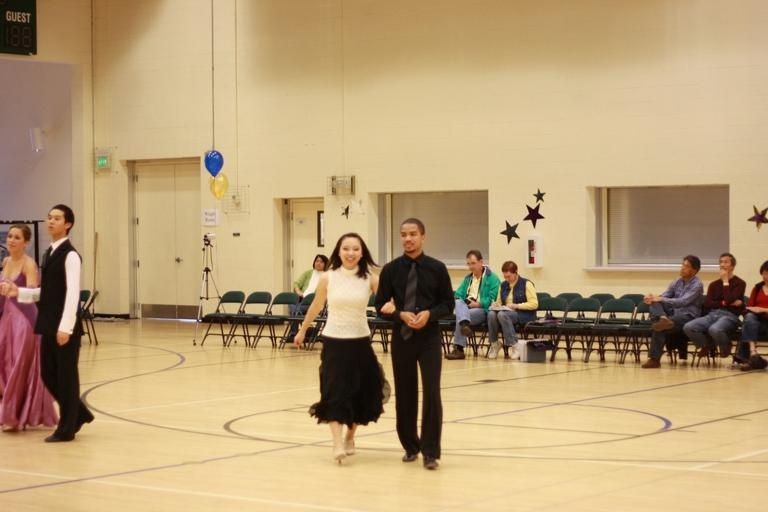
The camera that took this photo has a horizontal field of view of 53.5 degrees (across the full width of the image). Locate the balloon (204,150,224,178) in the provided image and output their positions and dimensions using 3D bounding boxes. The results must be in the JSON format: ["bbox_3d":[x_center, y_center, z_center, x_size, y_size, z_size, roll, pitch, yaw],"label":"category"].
[{"bbox_3d":[-3.837,-2.118,17.291,0.330,0.617,0.432,2,-2,-44],"label":"balloon"}]

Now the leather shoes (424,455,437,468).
[{"bbox_3d":[0.429,1.890,7.005,0.057,0.080,0.178,0,3,-4],"label":"leather shoes"}]

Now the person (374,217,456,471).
[{"bbox_3d":[0.287,0.804,7.148,0.706,2.287,0.332,1,-1,5],"label":"person"}]

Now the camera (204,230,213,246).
[{"bbox_3d":[-4.201,-0.412,18.264,0.321,0.370,0.277,3,-6,-24],"label":"camera"}]

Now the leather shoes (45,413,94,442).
[{"bbox_3d":[-3.285,1.810,8.150,0.181,0.253,0.555,-10,0,34],"label":"leather shoes"}]

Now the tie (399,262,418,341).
[{"bbox_3d":[0.254,0.415,7.182,0.122,0.728,0.156,0,-2,38],"label":"tie"}]

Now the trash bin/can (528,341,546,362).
[{"bbox_3d":[2.588,1.591,13.120,0.307,0.435,0.433,-1,-5,-4],"label":"trash bin/can"}]

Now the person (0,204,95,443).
[{"bbox_3d":[-3.549,0.688,8.272,0.828,2.499,0.756,1,-1,11],"label":"person"}]

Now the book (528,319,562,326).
[{"bbox_3d":[2.877,1.199,13.678,0.561,0.170,0.719,1,-1,15],"label":"book"}]
